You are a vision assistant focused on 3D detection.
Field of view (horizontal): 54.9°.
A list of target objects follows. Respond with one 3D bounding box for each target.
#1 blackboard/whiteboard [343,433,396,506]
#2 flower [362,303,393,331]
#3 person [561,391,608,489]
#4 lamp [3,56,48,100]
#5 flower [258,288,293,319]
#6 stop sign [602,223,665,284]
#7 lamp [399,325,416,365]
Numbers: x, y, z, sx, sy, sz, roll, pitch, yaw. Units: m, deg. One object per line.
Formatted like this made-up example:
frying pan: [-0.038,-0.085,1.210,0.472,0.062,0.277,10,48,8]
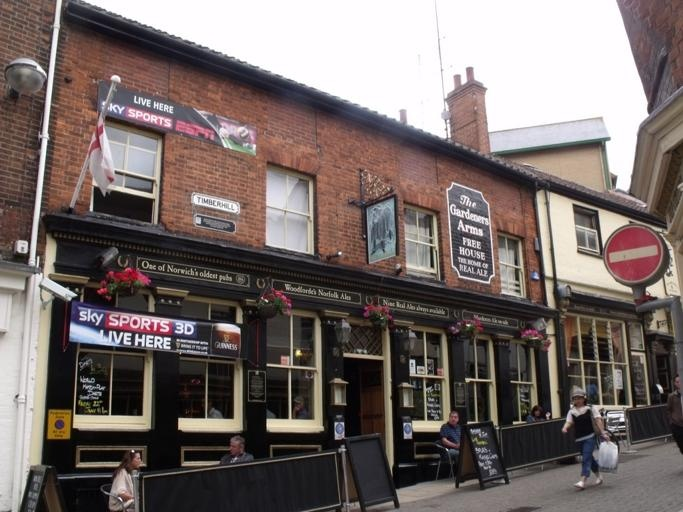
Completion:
blackboard/whiteboard: [0.519,3.872,11.840,0.345,1.307,1.103,-18,-23,37]
flower: [0.825,1.390,15.529,0.668,0.539,0.513,16,-13,-34]
person: [4.793,3.526,12.827,0.936,1.836,0.590,6,-13,-36]
lamp: [-5.503,-3.133,11.662,0.668,0.722,0.769,2,-3,-41]
flower: [-1.427,1.012,13.965,0.553,0.480,0.630,0,-24,2]
stop sign: [3.474,-0.046,7.783,0.736,0.817,0.307,-20,-24,38]
lamp: [1.594,2.146,15.940,0.337,0.870,0.307,13,-25,-42]
